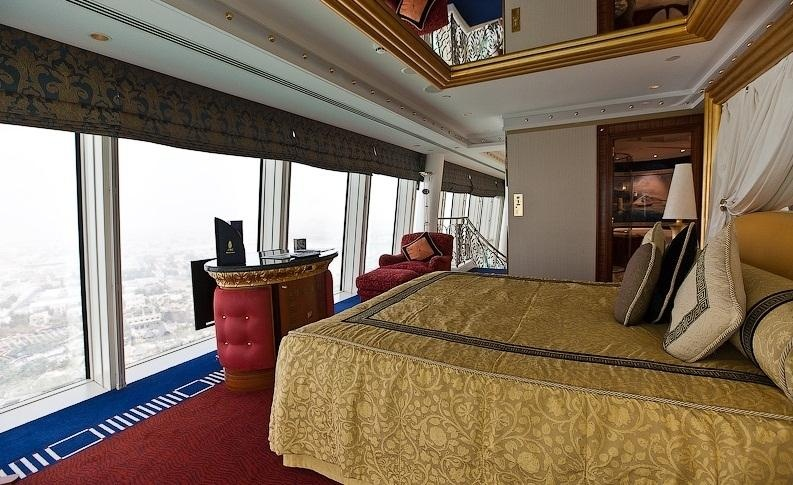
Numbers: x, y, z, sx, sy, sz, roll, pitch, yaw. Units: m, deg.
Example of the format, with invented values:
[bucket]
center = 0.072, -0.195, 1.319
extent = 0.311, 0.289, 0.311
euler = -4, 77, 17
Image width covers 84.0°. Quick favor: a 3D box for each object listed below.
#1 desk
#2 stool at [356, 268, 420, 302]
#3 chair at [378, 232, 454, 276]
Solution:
[desk]
center = -1.533, 0.774, 5.541
extent = 1.171, 1.334, 1.877
euler = 2, 8, 29
[stool]
center = -0.183, 0.472, 6.892
extent = 0.617, 0.504, 0.636
euler = 4, 8, 33
[chair]
center = 0.430, 0.117, 7.773
extent = 0.867, 0.966, 0.877
euler = 1, -2, 31
